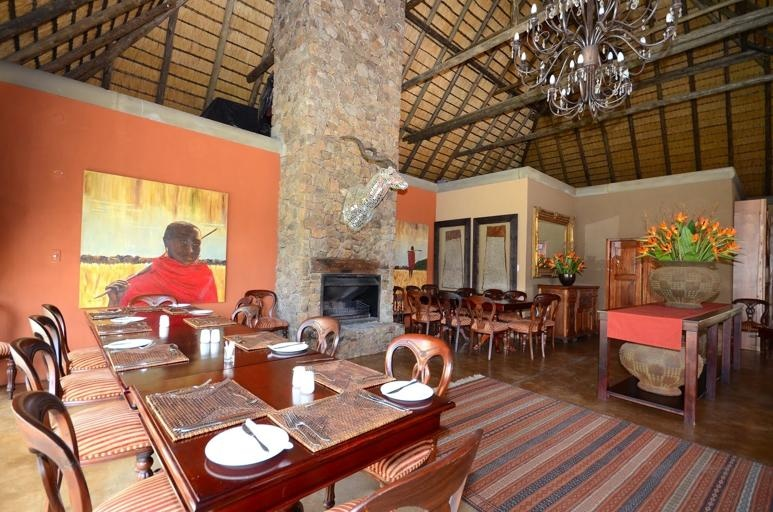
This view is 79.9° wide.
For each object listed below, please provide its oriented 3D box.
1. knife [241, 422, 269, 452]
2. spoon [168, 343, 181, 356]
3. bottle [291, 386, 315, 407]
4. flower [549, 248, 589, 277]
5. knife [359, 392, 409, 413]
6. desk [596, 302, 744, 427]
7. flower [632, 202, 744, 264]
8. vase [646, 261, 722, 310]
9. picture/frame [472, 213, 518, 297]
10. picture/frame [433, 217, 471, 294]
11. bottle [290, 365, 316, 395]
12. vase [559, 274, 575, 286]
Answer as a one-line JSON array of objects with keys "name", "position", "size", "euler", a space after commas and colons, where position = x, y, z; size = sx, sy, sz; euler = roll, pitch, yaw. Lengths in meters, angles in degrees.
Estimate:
[{"name": "knife", "position": [-1.004, 1.372, 3.508], "size": [0.101, 0.041, 0.382], "euler": [-27, 34, -21]}, {"name": "spoon", "position": [-2.030, 0.883, 4.416], "size": [0.066, 0.053, 0.194], "euler": [5, 8, -33]}, {"name": "bottle", "position": [-0.703, 1.163, 3.863], "size": [0.193, 0.091, 0.174], "euler": [-1, 0, -9]}, {"name": "flower", "position": [3.595, 0.184, 9.219], "size": [0.679, 0.586, 0.677], "euler": [1, -4, 0]}, {"name": "knife", "position": [-0.045, 1.191, 3.794], "size": [0.553, 0.038, 0.135], "euler": [9, 12, 30]}, {"name": "desk", "position": [3.828, 1.283, 6.263], "size": [1.075, 1.159, 2.491], "euler": [3, 3, 44]}, {"name": "flower", "position": [3.865, -0.181, 6.094], "size": [1.263, 0.782, 1.272], "euler": [-1, -2, 42]}, {"name": "vase", "position": [3.724, 0.373, 5.829], "size": [0.627, 0.455, 0.675], "euler": [1, -7, -1]}, {"name": "picture/frame", "position": [2.155, -0.057, 9.303], "size": [1.026, 1.409, 0.120], "euler": [-2, -1, 44]}, {"name": "picture/frame", "position": [1.396, -0.042, 10.060], "size": [0.105, 1.352, 0.980], "euler": [-1, -1, -44]}, {"name": "bottle", "position": [-0.733, 1.063, 3.936], "size": [0.229, 0.203, 0.151], "euler": [-3, -5, 23]}, {"name": "vase", "position": [3.533, 0.464, 9.027], "size": [0.239, 0.170, 0.240], "euler": [-8, -15, 44]}]
